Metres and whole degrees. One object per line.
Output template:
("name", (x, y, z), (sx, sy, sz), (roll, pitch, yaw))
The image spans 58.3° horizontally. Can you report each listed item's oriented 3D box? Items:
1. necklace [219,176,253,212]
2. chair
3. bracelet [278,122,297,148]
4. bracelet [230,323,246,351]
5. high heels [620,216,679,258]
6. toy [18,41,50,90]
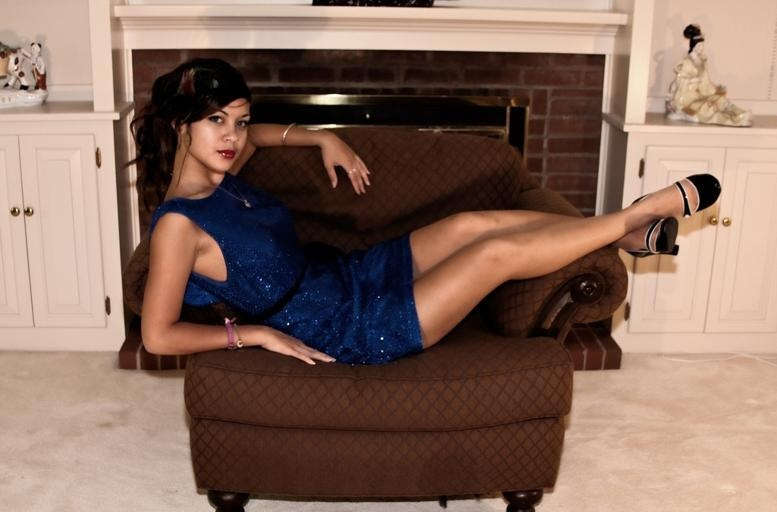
("necklace", (-0.651, -0.262, 2.962), (0.138, 0.044, 0.139), (36, 25, -5))
("chair", (0.037, 0.151, 3.398), (2.578, 1.502, 1.960), (-4, 14, -18))
("bracelet", (-0.476, -0.578, 3.313), (0.026, 0.093, 0.075), (29, -11, 11))
("bracelet", (-0.577, 0.316, 2.725), (0.032, 0.083, 0.075), (-6, -6, -8))
("high heels", (1.107, -0.074, 2.958), (0.096, 0.116, 0.262), (-22, 5, -37))
("toy", (-1.979, -1.060, 3.923), (0.199, 0.256, 0.102), (-1, 8, -11))
